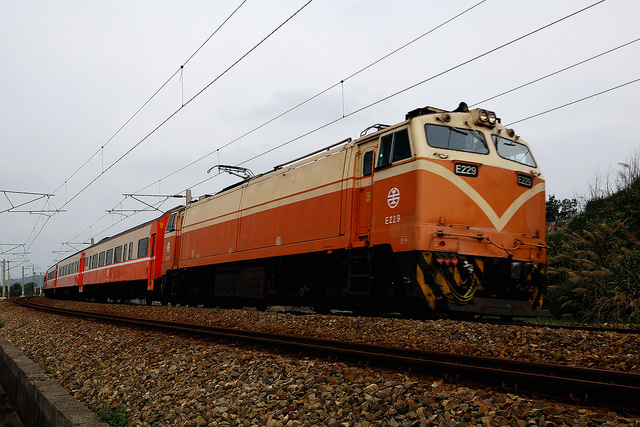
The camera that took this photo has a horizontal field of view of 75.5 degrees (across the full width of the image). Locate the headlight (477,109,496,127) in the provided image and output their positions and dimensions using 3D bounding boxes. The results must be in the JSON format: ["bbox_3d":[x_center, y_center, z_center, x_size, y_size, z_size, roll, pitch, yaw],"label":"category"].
[{"bbox_3d":[4.453,-2.538,10.926,0.625,0.436,0.186,3,-12,-24],"label":"headlight"}]
